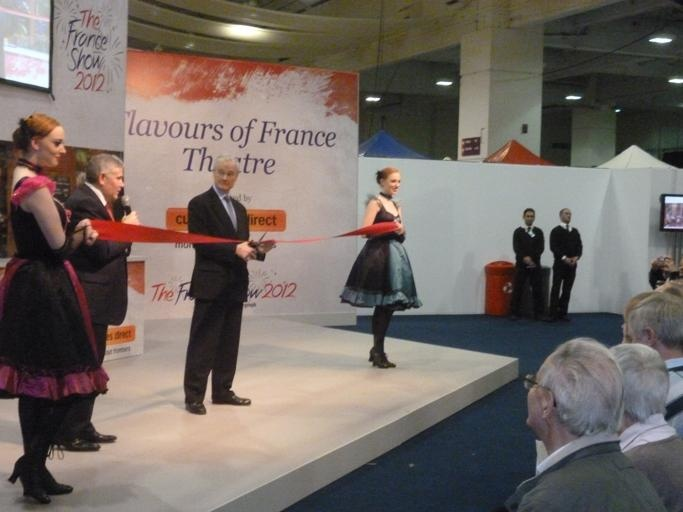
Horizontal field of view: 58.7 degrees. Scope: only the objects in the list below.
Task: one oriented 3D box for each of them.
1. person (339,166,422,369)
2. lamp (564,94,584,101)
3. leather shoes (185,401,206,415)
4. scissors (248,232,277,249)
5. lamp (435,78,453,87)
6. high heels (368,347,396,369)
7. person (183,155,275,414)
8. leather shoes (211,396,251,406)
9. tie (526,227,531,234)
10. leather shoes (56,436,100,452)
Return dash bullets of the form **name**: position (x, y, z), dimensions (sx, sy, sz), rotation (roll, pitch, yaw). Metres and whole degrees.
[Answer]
- **person**: position (0.327, 0.101, 5.033), dimensions (0.649, 1.669, 0.427), rotation (3, 5, 7)
- **lamp**: position (6.600, -4.512, 17.423), dimensions (0.418, 0.100, 0.810), rotation (5, 6, 21)
- **leather shoes**: position (-0.916, 0.959, 3.822), dimensions (0.057, 0.062, 0.152), rotation (3, -5, -39)
- **scissors**: position (-0.478, -0.070, 3.768), dimensions (0.188, 0.057, 0.100), rotation (7, 7, 43)
- **lamp**: position (2.692, -4.547, 16.069), dimensions (0.453, 0.105, 0.813), rotation (3, 5, 9)
- **high heels**: position (0.368, 0.868, 5.086), dimensions (0.105, 0.161, 0.306), rotation (4, -5, -44)
- **person**: position (-0.745, 0.183, 3.936), dimensions (0.509, 1.615, 0.431), rotation (1, 5, -15)
- **leather shoes**: position (-0.730, 0.964, 4.013), dimensions (0.248, 0.075, 0.090), rotation (-2, -4, -4)
- **tie**: position (2.608, -0.360, 8.500), dimensions (0.068, 0.073, 0.077), rotation (-3, 2, -9)
- **leather shoes**: position (-1.420, 1.024, 3.288), dimensions (0.215, 0.058, 0.105), rotation (-1, -3, -7)
